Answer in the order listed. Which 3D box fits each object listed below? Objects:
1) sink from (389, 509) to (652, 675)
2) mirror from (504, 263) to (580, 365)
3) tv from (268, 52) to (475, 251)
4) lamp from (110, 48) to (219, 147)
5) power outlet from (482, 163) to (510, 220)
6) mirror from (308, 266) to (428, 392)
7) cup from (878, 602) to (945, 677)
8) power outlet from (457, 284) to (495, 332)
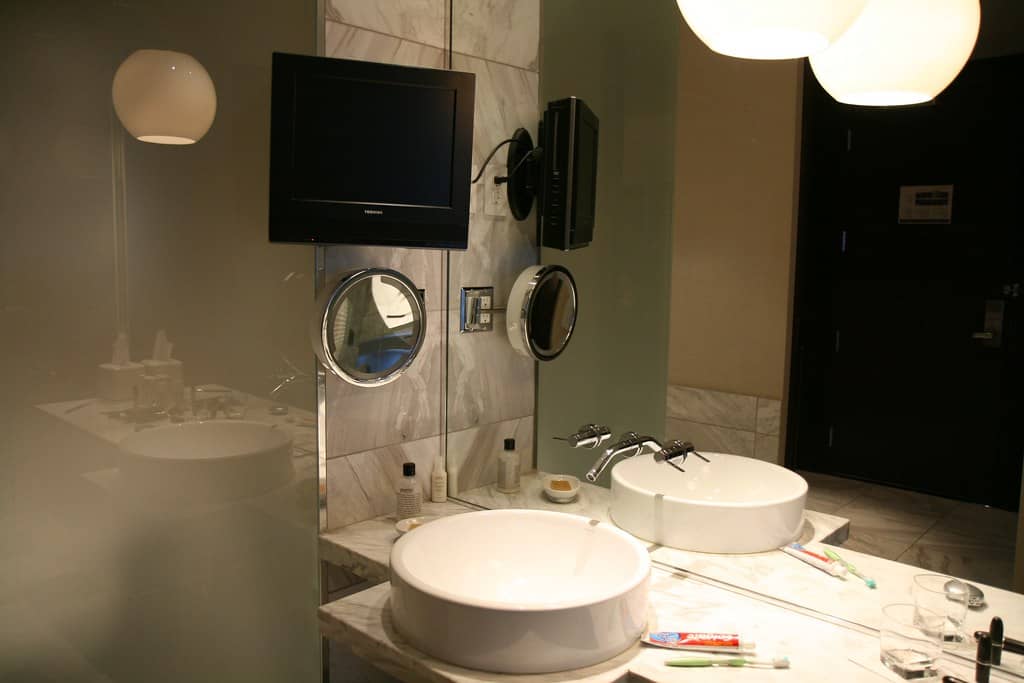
[{"bbox_3d":[0.018,0.563,1.677,0.573,0.219,0.427,5,7,21],"label":"sink"},{"bbox_3d":[0.108,-0.094,2.307,0.114,0.316,0.270,12,14,40],"label":"mirror"},{"bbox_3d":[-0.380,-0.495,1.889,0.518,0.473,0.069,0,9,-27],"label":"tv"},{"bbox_3d":[-0.849,-0.582,1.776,0.224,0.212,0.060,-6,11,-43],"label":"lamp"},{"bbox_3d":[-0.052,-0.469,2.246,0.100,0.183,0.018,7,32,6],"label":"power outlet"},{"bbox_3d":[-0.397,-0.044,2.058,0.324,0.326,0.062,-4,9,-39],"label":"mirror"},{"bbox_3d":[0.836,0.629,1.581,0.128,0.133,0.127,0,4,0],"label":"cup"},{"bbox_3d":[-0.105,-0.101,2.275,0.123,0.130,0.028,0,6,-24],"label":"power outlet"}]
